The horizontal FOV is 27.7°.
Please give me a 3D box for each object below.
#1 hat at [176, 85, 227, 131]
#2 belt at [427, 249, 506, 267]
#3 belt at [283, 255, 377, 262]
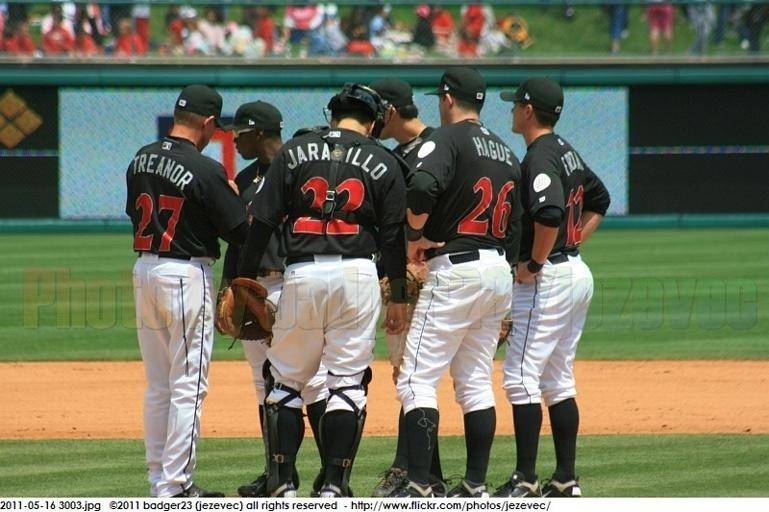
[{"bbox_3d":[-2.234,-1.817,19.081,0.421,0.286,0.609,20,9,31],"label":"hat"},{"bbox_3d":[1.098,0.005,18.850,0.686,0.171,0.110,-1,2,-4],"label":"belt"},{"bbox_3d":[-0.670,0.035,18.782,1.003,0.087,0.201,-1,2,-10],"label":"belt"}]
